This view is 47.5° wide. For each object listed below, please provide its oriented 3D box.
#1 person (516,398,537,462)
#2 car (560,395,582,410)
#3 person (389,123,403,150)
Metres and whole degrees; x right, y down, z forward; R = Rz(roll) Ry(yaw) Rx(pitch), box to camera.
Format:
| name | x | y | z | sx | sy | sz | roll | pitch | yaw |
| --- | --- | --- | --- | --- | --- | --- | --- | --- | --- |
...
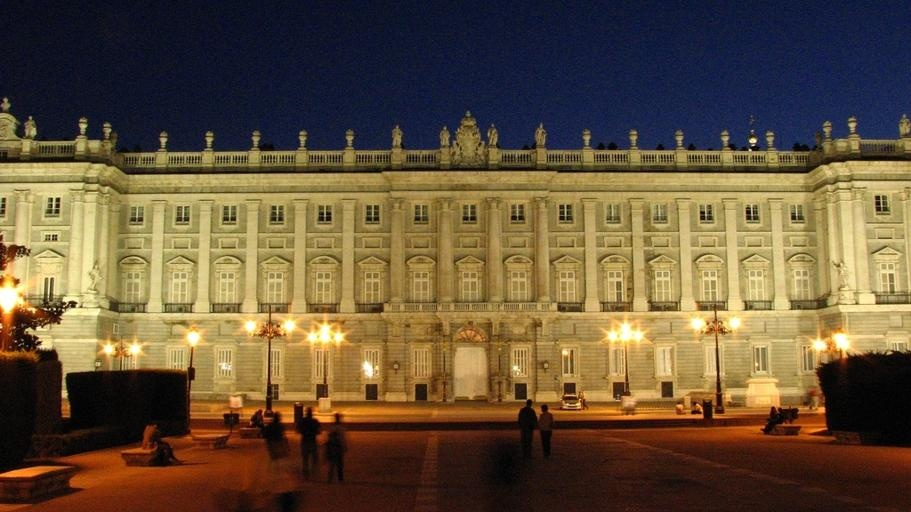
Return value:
| name | x | y | z | sx | sy | sz | roll | pitch | yaw |
| --- | --- | --- | --- | --- | --- | --- | --- | --- | --- |
| person | 4.235 | 10.004 | 60.186 | 1.016 | 3.580 | 1.557 | 3 | 15 | 7 |
| car | 9.618 | 12.007 | 84.700 | 1.844 | 1.007 | 1.480 | 2 | 14 | 5 |
| person | -5.202 | -10.528 | 93.548 | 0.722 | 1.792 | 0.744 | 2 | 15 | 6 |
